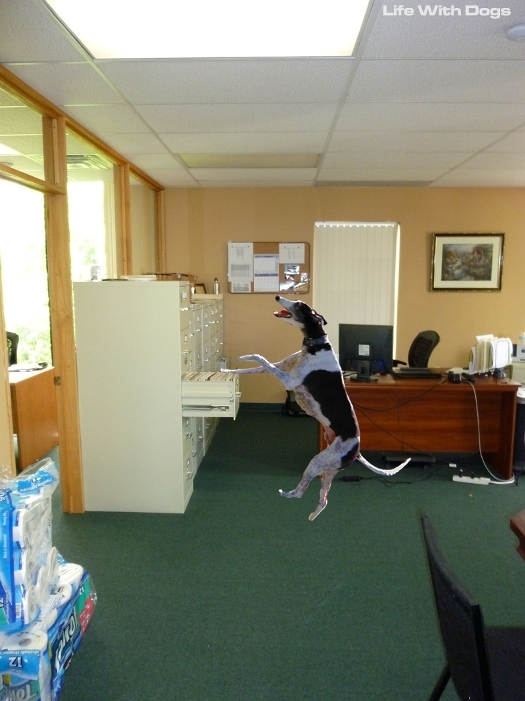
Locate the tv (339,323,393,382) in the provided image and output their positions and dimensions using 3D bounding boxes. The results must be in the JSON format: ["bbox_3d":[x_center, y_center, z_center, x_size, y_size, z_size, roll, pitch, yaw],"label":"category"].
[{"bbox_3d":[0.839,0.011,4.253,0.457,0.418,0.147,4,27,14],"label":"tv"}]

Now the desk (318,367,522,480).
[{"bbox_3d":[1.477,0.571,4.413,1.716,0.815,0.844,0,0,4],"label":"desk"}]

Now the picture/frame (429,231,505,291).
[{"bbox_3d":[2.458,-1.090,6.199,0.765,0.590,0.080,0,7,4],"label":"picture/frame"}]
